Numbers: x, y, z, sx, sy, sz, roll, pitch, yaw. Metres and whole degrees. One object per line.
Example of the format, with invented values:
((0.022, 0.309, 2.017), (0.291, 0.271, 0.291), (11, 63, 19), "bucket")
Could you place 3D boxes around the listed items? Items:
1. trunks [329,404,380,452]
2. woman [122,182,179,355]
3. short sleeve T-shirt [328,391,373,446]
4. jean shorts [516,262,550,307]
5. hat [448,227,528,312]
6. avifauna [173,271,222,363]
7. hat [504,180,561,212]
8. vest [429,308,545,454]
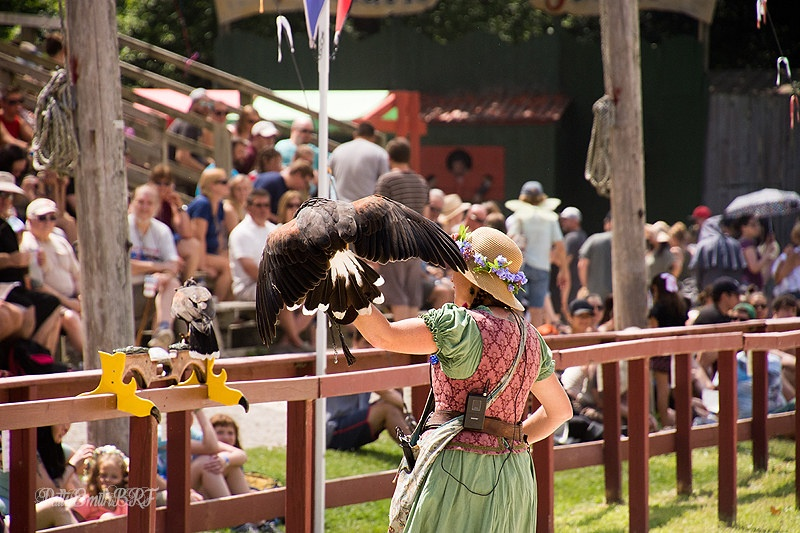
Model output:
((-0.559, 1.926, 23.651), (0.656, 0.255, 0.359), (-3, -2, 0), "trunks")
((-2.924, -0.096, 24.342), (0.582, 1.646, 0.406), (-3, 1, -7), "woman")
((-0.563, 1.778, 23.469), (0.662, 0.822, 0.478), (1, -15, -5), "short sleeve T-shirt")
((1.634, 0.228, 25.131), (0.480, 0.692, 0.345), (6, 5, -5), "jean shorts")
((0.938, -0.011, 20.467), (0.427, 0.840, 0.683), (-43, -19, 12), "hat")
((-2.083, 0.544, 20.661), (0.445, 0.700, 0.246), (-3, 1, -8), "avifauna")
((1.840, -0.879, 27.314), (0.628, 0.248, 0.492), (1, 6, -23), "hat")
((0.826, 1.141, 20.335), (1.355, 1.333, 0.742), (2, -1, -20), "vest")
